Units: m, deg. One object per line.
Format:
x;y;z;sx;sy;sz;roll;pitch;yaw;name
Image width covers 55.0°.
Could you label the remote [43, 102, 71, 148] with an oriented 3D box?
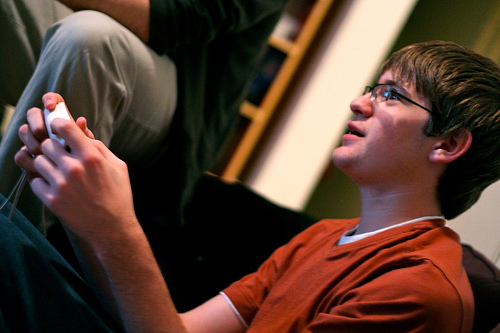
-0.447;-0.097;1.117;0.061;0.093;0.080;-4;17;-18;remote
